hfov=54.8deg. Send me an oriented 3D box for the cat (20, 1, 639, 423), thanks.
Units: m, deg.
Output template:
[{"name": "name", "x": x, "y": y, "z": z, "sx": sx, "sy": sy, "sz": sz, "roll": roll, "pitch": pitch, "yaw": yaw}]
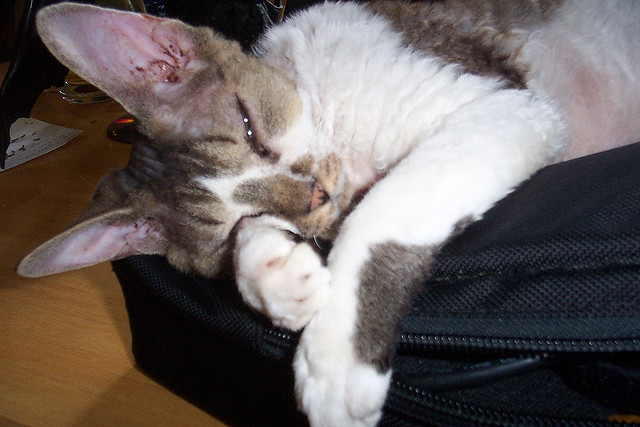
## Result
[{"name": "cat", "x": 0.137, "y": -0.208, "z": 1.633, "sx": 1.505, "sy": 0.941, "sz": 0.619, "roll": -24, "pitch": 99, "yaw": -30}]
